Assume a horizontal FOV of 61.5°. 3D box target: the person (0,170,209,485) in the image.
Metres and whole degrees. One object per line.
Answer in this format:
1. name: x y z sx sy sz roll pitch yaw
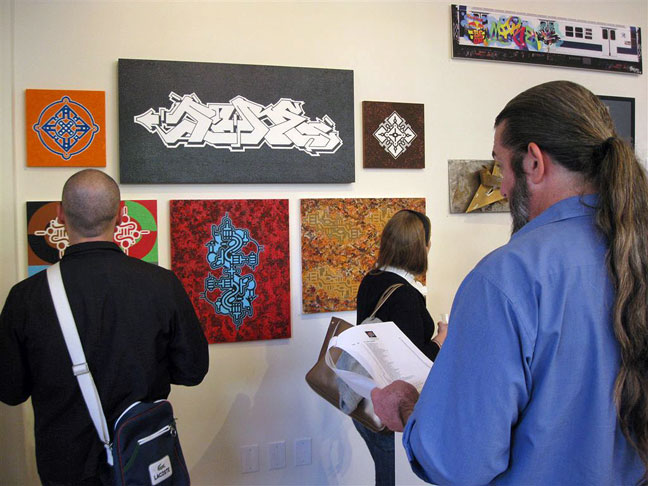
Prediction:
1. person: -0.850 0.314 2.119 0.676 1.201 0.390 1 5 11
